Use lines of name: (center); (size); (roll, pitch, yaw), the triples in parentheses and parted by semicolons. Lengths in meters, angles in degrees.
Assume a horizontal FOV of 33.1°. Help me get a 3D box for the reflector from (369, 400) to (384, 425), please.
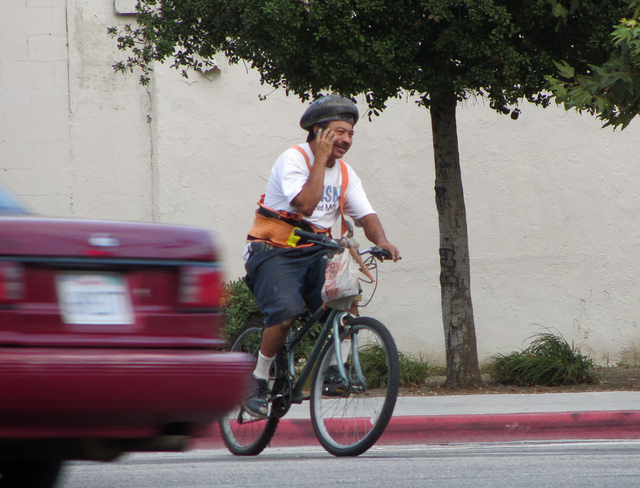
reflector: (0.426, 1.218, 7.775); (0.039, 0.147, 0.158); (22, -7, 0)

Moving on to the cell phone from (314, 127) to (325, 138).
cell phone: (-0.001, -0.847, 8.188); (0.017, 0.061, 0.064); (18, 30, -35)
